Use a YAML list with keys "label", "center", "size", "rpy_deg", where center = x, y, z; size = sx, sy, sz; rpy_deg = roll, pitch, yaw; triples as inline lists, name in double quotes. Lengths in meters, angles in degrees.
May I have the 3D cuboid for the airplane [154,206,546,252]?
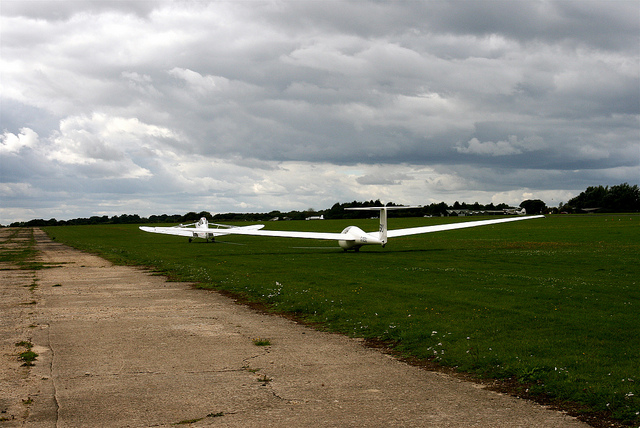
- label: "airplane"
  center: [3.649, 1.091, 42.248]
  size: [24.520, 4.260, 14.512]
  rpy_deg: [2, 5, 29]
